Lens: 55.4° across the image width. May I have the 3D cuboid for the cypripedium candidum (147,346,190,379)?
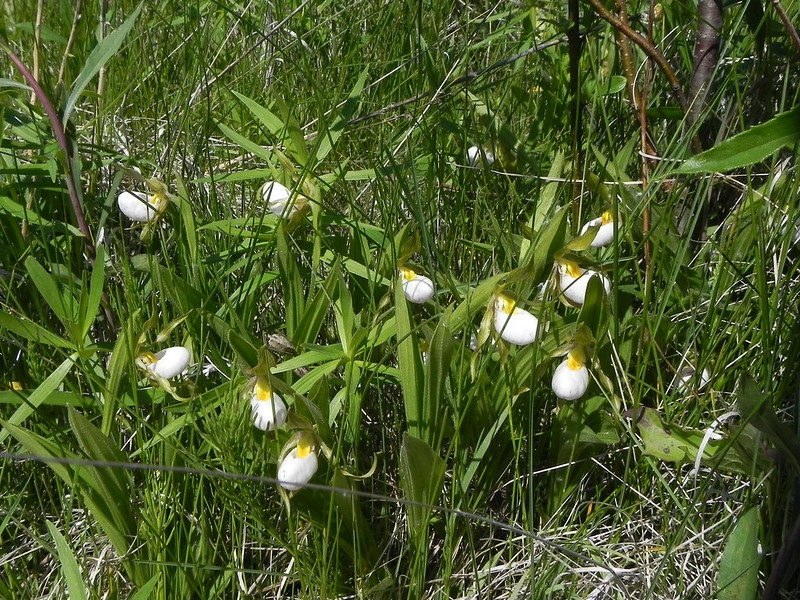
[{"bbox_3d":[-0.624,0.169,2.059,0.097,0.063,0.082,-25,61,13],"label":"cypripedium candidum"}]

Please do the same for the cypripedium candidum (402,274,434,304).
[{"bbox_3d":[0.049,-0.029,2.191,0.077,0.061,0.062,8,86,37],"label":"cypripedium candidum"}]
